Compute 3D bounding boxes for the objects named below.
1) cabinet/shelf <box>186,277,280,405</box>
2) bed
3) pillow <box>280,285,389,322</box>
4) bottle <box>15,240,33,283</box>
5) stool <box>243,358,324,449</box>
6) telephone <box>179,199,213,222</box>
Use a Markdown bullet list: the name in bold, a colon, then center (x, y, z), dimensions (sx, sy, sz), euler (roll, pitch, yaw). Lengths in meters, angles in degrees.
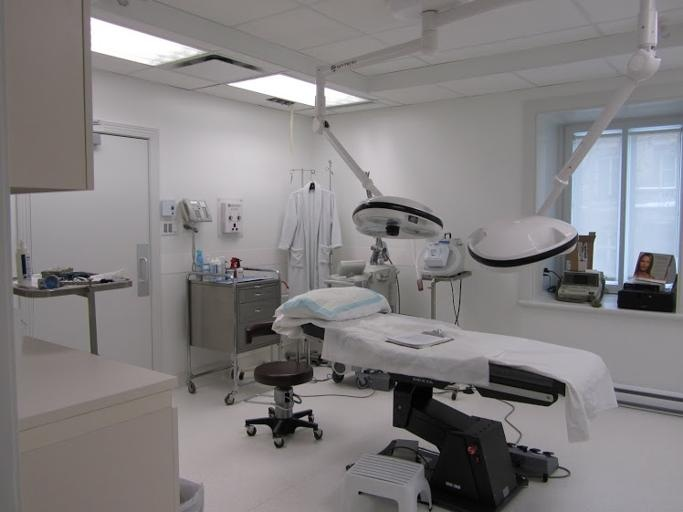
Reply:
- **cabinet/shelf**: center (-1.023, 0.754, 4.828), dimensions (0.695, 1.277, 0.950), euler (2, 4, 28)
- **bed**: center (0.623, 0.868, 3.336), dimensions (1.964, 1.101, 0.659), euler (5, 10, 34)
- **pillow**: center (-0.028, 0.342, 3.734), dimensions (0.458, 0.133, 0.340), euler (-2, 5, -38)
- **bottle**: center (-1.946, 0.021, 3.187), dimensions (0.072, 0.231, 0.156), euler (-6, 10, -32)
- **stool**: center (-0.401, 1.059, 4.069), dimensions (0.577, 0.553, 0.556), euler (2, 3, 43)
- **telephone**: center (-1.356, -0.443, 5.000), dimensions (0.157, 0.211, 0.314), euler (5, 10, 33)
